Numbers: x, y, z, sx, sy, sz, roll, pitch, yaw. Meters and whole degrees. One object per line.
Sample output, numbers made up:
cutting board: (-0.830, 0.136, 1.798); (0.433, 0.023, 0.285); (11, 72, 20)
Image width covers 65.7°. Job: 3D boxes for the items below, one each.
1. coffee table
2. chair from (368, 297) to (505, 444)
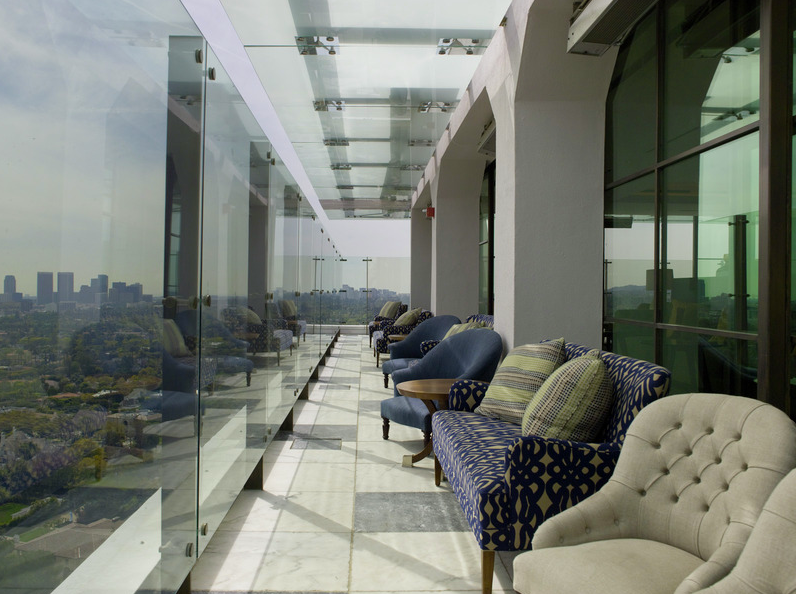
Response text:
coffee table: (0.237, 0.964, 4.536); (0.535, 0.617, 0.572); (0, 2, 23)
chair: (0.416, 0.572, 5.130); (0.954, 1.098, 0.855); (5, -5, -34)
